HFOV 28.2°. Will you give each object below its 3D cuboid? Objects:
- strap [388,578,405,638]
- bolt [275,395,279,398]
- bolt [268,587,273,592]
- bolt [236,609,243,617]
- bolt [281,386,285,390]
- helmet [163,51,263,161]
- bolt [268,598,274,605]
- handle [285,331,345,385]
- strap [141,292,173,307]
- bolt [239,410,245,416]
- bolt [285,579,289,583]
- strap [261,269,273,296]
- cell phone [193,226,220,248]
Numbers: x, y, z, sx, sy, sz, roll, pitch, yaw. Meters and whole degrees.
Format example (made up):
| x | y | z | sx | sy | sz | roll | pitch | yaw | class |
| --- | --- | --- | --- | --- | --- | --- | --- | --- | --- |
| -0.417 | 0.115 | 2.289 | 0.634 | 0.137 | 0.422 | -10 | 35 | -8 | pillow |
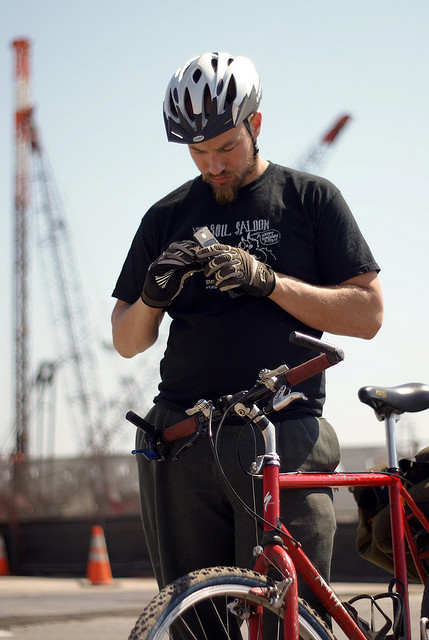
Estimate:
| x | y | z | sx | sy | sz | roll | pitch | yaw | class |
| --- | --- | --- | --- | --- | --- | --- | --- | --- | --- |
| 0.647 | 1.017 | 3.015 | 0.059 | 0.166 | 0.143 | -4 | 7 | 11 | strap |
| 0.190 | 0.236 | 2.596 | 0.007 | 0.007 | 0.015 | -10 | 9 | -44 | bolt |
| 0.158 | 0.769 | 2.420 | 0.011 | 0.008 | 0.015 | -1 | -9 | -2 | bolt |
| 0.070 | 0.835 | 2.418 | 0.021 | 0.017 | 0.005 | -3 | -3 | 11 | bolt |
| 0.206 | 0.208 | 2.591 | 0.014 | 0.012 | 0.004 | -1 | -5 | -25 | bolt |
| 0.006 | -0.789 | 3.195 | 0.380 | 0.406 | 0.441 | -4 | 8 | 14 | helmet |
| 0.159 | 0.800 | 2.415 | 0.017 | 0.015 | 0.007 | -4 | 7 | -2 | bolt |
| 0.307 | 0.114 | 2.568 | 0.181 | 0.169 | 0.192 | -1 | 7 | 27 | handle |
| -0.206 | -0.067 | 2.972 | 0.093 | 0.058 | 0.080 | -4 | 6 | -4 | strap |
| 0.081 | 0.285 | 2.593 | 0.013 | 0.011 | 0.005 | -5 | -2 | 32 | bolt |
| 0.204 | 0.742 | 2.416 | 0.014 | 0.003 | 0.012 | 2 | -5 | -7 | bolt |
| 0.175 | -0.121 | 2.803 | 0.031 | 0.083 | 0.056 | 2 | 9 | 42 | strap |
| -0.031 | -0.264 | 2.742 | 0.048 | 0.020 | 0.086 | -32 | 48 | -23 | cell phone |
